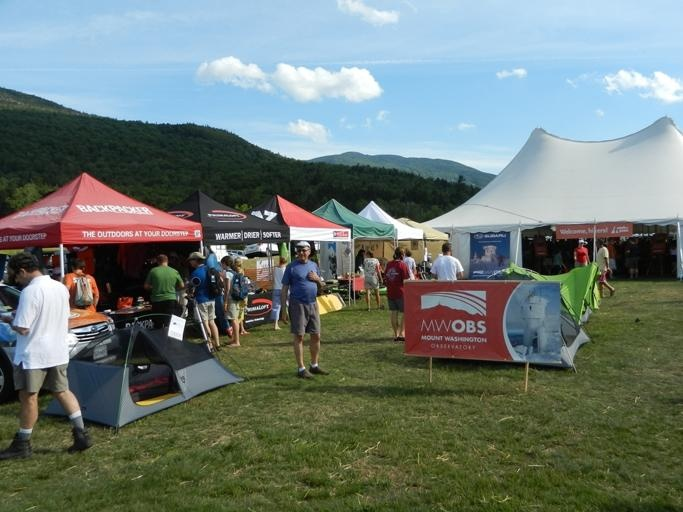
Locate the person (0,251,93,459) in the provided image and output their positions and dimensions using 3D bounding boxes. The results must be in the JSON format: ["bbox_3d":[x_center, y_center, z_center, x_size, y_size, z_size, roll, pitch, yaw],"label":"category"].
[{"bbox_3d":[-3.637,1.187,7.949,0.922,2.390,0.629,-7,13,-25],"label":"person"}]

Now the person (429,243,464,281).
[{"bbox_3d":[2.037,0.084,12.828,0.585,0.748,1.075,1,13,8],"label":"person"}]

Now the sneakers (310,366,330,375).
[{"bbox_3d":[-0.350,1.799,10.504,0.322,0.151,0.126,1,5,4],"label":"sneakers"}]

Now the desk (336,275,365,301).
[{"bbox_3d":[0.202,0.884,19.093,0.624,0.492,0.959,2,3,25],"label":"desk"}]

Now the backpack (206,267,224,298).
[{"bbox_3d":[-2.284,0.467,11.825,0.294,0.529,0.349,-3,12,-10],"label":"backpack"}]

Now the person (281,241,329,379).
[{"bbox_3d":[-0.625,0.852,10.483,0.669,2.198,1.031,-2,12,-4],"label":"person"}]

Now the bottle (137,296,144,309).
[{"bbox_3d":[-3.987,0.922,13.028,0.114,0.205,0.120,-1,1,0],"label":"bottle"}]

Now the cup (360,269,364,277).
[{"bbox_3d":[0.595,0.508,20.436,0.145,0.178,0.150,1,-3,0],"label":"cup"}]

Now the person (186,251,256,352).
[{"bbox_3d":[-2.376,0.895,12.067,0.780,1.912,1.329,0,12,4],"label":"person"}]

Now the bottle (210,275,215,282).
[{"bbox_3d":[-2.293,0.395,11.685,0.091,0.116,0.085,-1,12,0],"label":"bottle"}]
